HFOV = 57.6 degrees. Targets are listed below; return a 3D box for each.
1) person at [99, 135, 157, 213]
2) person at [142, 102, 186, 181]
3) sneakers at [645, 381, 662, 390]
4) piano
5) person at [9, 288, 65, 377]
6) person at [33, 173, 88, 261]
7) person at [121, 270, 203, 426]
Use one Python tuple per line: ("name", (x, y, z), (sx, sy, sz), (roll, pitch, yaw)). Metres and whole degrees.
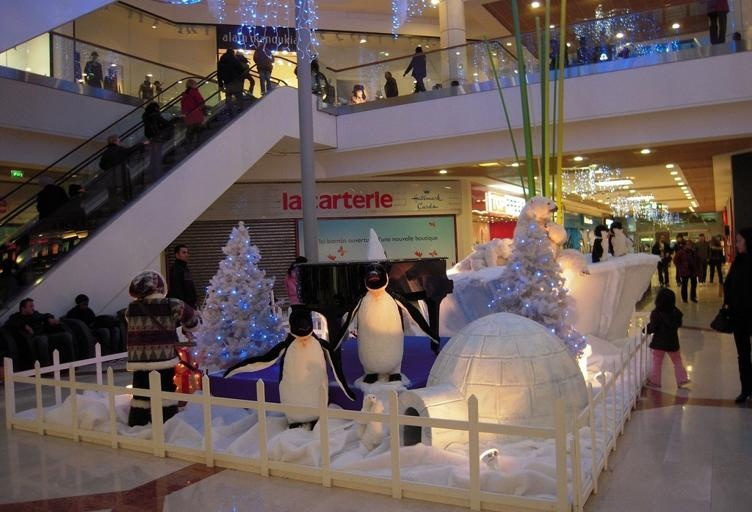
("person", (-4.335, -1.441, 11.811), (0.756, 1.403, 0.667), (-1, -3, -33))
("person", (-3.860, -1.944, 12.415), (0.580, 1.715, 0.661), (-13, -15, 43))
("sneakers", (3.454, 1.671, 8.683), (0.219, 0.107, 0.070), (5, -6, -5))
("piano", (0.003, 0.714, 8.383), (1.112, 1.039, 1.486), (0, 3, 22))
("person", (-5.002, 1.160, 10.138), (0.800, 1.028, 0.587), (-1, -3, -32))
("person", (-4.934, -0.534, 11.227), (1.113, 1.158, 0.273), (-1, -6, 45))
("person", (-2.404, 0.862, 7.674), (0.720, 1.364, 0.389), (-1, -3, -24))
